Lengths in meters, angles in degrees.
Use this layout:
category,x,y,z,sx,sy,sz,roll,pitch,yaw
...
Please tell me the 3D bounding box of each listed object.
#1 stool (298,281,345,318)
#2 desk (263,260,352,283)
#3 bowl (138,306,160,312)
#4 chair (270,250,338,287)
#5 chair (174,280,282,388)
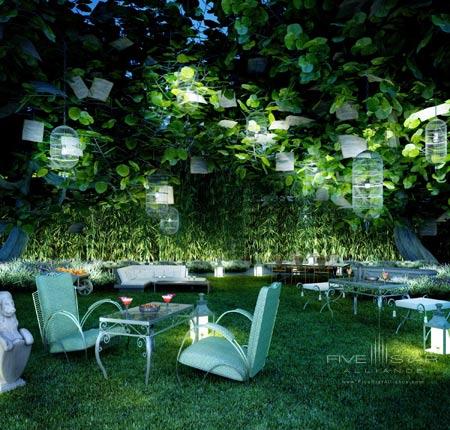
category,x,y,z,sx,sy,sz,roll,pitch,yaw
stool,2.091,1.724,8.817,0.792,0.501,1.076,3,-2,-37
desk,2.683,1.728,12.522,2.180,0.627,2.143,0,-1,35
bowl,-0.904,1.136,4.882,0.240,0.090,0.169,0,-1,-8
chair,2.498,1.634,12.259,1.855,0.578,1.152,0,1,17
chair,0.084,1.325,4.530,1.079,0.922,0.845,-2,-2,16
